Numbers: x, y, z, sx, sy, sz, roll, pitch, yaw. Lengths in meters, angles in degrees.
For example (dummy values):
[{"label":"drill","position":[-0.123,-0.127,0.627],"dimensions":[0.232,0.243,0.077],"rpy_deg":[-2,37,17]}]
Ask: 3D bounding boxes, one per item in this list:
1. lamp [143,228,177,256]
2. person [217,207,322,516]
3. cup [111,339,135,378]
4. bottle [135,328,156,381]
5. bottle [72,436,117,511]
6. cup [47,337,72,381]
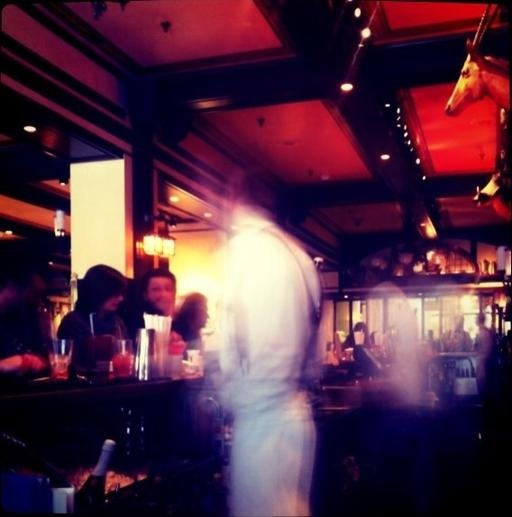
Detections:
[{"label":"lamp","position":[-1.113,-0.169,5.938],"dimensions":[0.190,0.346,0.612],"rpy_deg":[1,-9,7]},{"label":"person","position":[0.039,0.399,2.061],"dimensions":[0.433,1.172,0.316],"rpy_deg":[0,-8,11]},{"label":"cup","position":[-0.560,0.423,2.251],"dimensions":[0.118,0.203,0.121],"rpy_deg":[1,0,0]},{"label":"bottle","position":[-0.482,0.408,2.223],"dimensions":[0.085,0.215,0.122],"rpy_deg":[3,-8,-7]},{"label":"bottle","position":[-0.532,0.697,1.694],"dimensions":[0.111,0.229,0.318],"rpy_deg":[4,-9,-18]},{"label":"cup","position":[-0.779,0.396,2.056],"dimensions":[0.081,0.153,0.156],"rpy_deg":[5,-9,-23]}]
